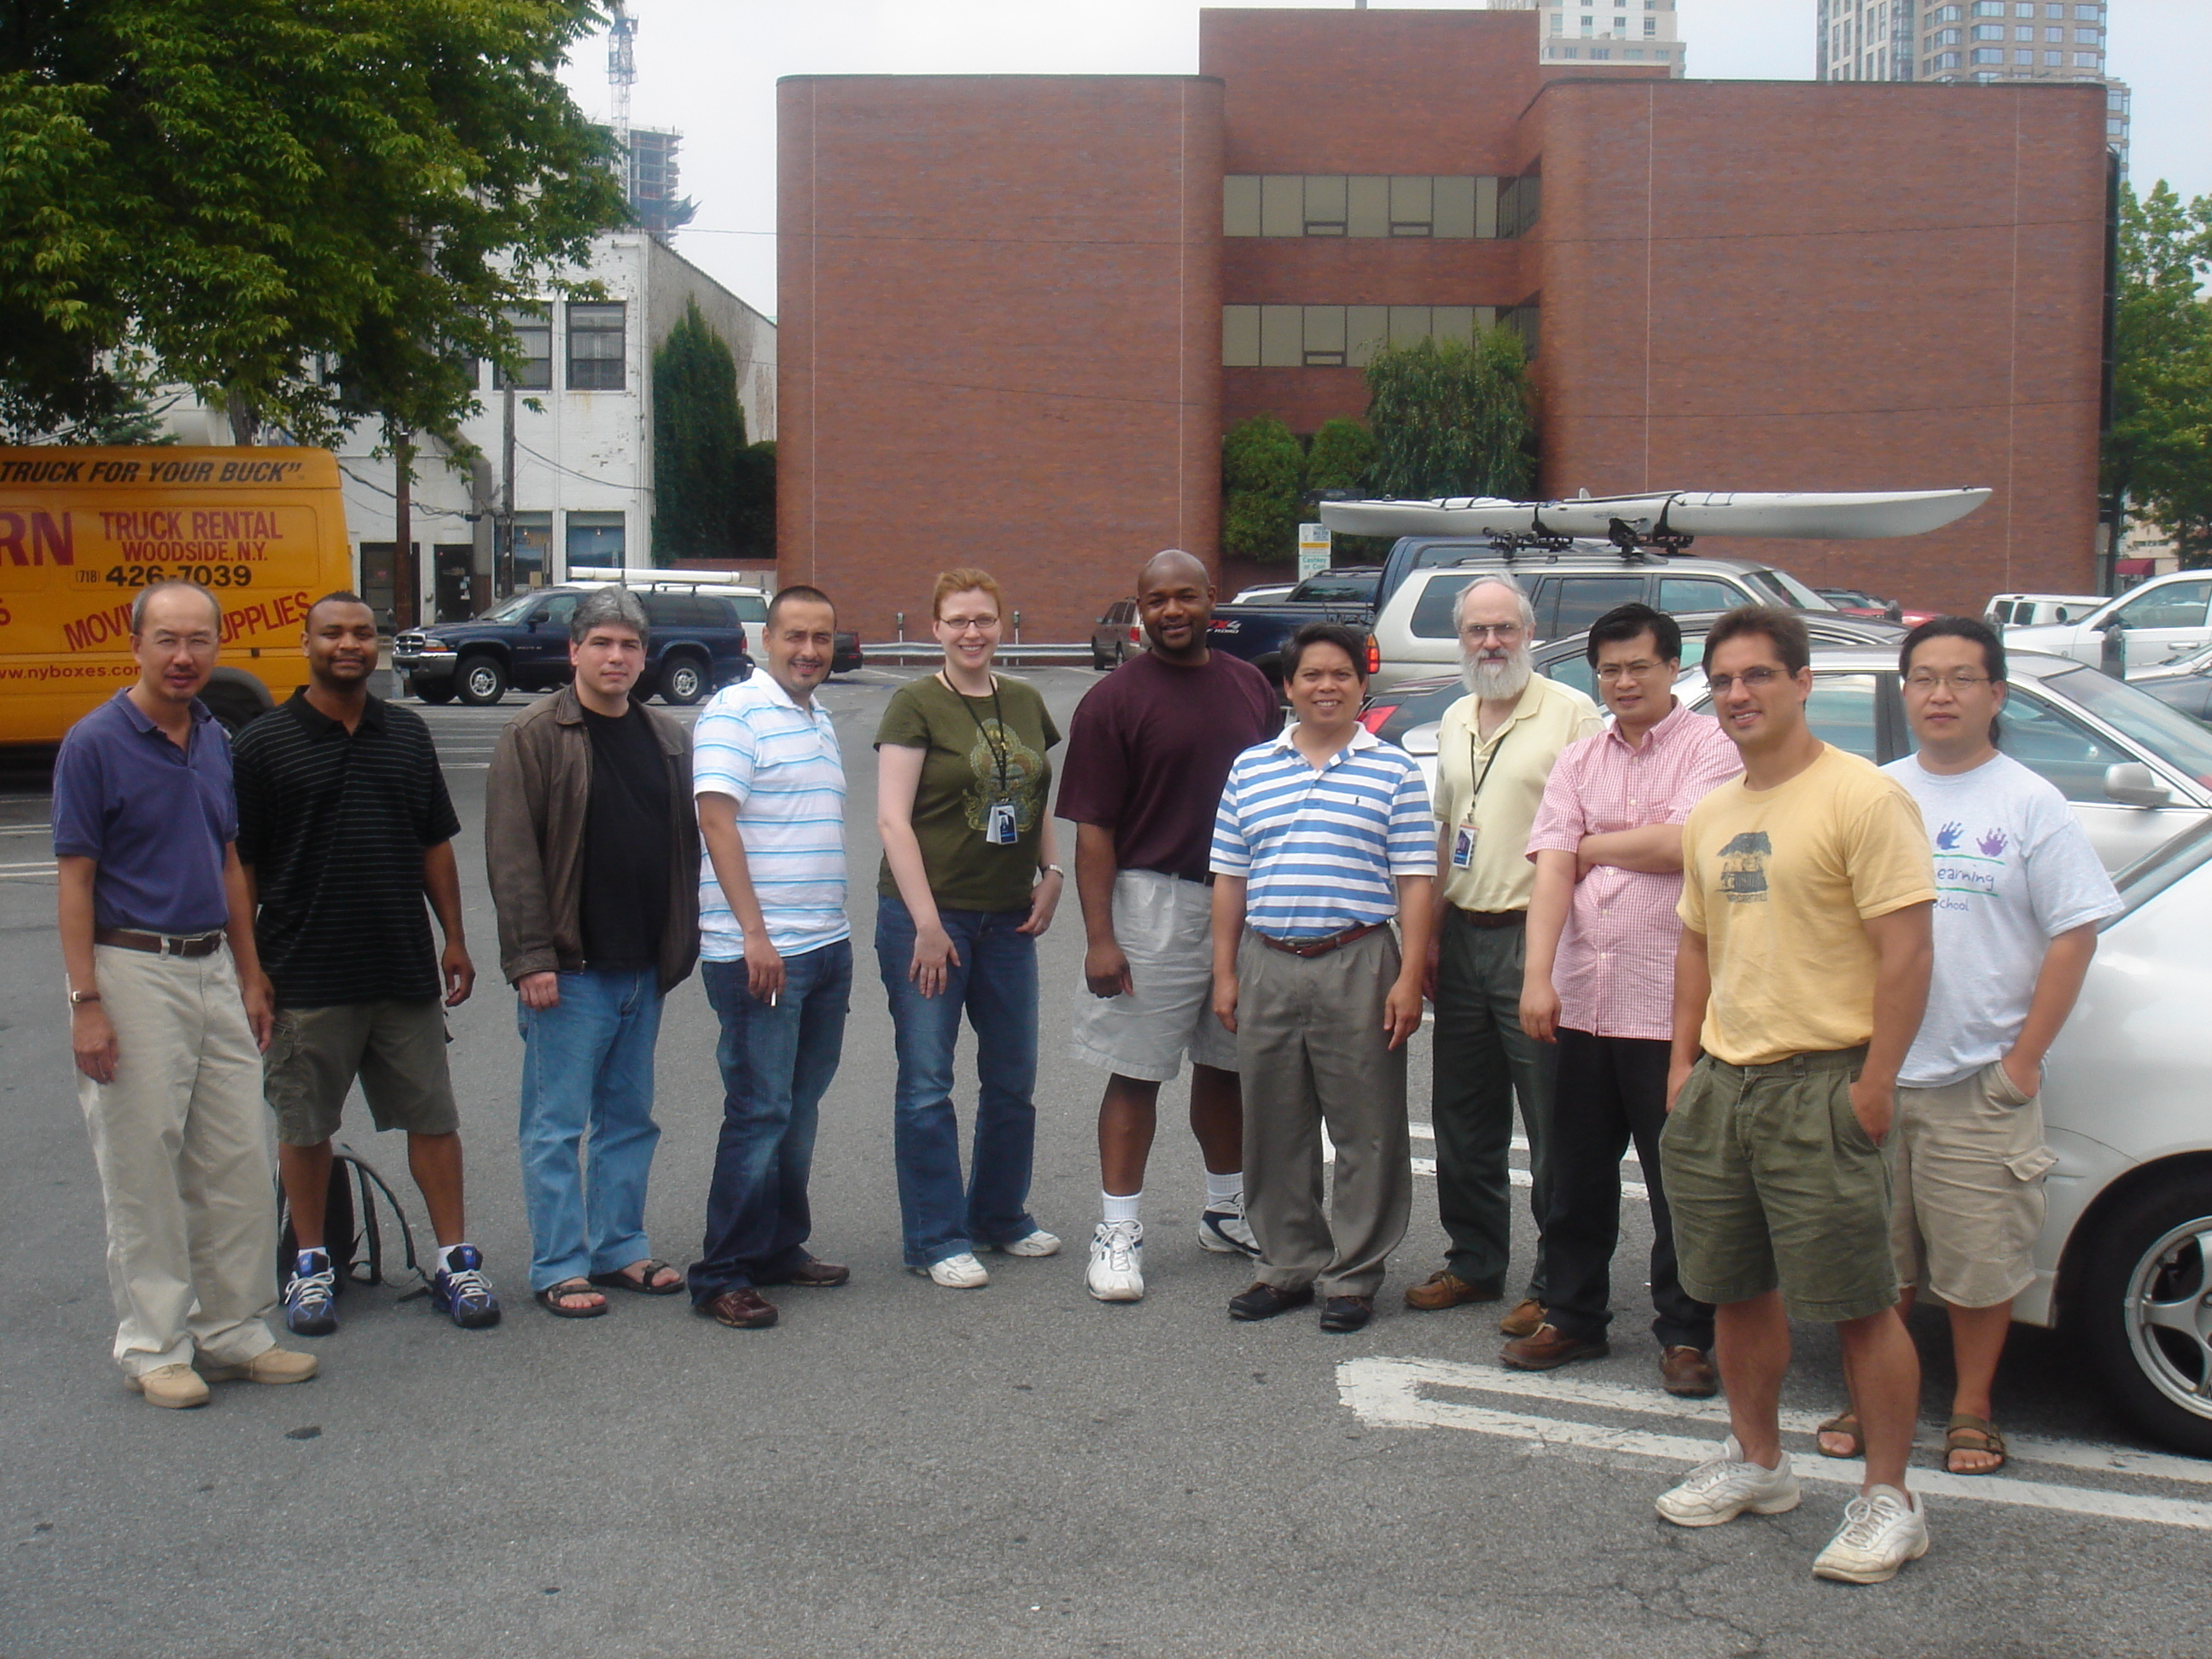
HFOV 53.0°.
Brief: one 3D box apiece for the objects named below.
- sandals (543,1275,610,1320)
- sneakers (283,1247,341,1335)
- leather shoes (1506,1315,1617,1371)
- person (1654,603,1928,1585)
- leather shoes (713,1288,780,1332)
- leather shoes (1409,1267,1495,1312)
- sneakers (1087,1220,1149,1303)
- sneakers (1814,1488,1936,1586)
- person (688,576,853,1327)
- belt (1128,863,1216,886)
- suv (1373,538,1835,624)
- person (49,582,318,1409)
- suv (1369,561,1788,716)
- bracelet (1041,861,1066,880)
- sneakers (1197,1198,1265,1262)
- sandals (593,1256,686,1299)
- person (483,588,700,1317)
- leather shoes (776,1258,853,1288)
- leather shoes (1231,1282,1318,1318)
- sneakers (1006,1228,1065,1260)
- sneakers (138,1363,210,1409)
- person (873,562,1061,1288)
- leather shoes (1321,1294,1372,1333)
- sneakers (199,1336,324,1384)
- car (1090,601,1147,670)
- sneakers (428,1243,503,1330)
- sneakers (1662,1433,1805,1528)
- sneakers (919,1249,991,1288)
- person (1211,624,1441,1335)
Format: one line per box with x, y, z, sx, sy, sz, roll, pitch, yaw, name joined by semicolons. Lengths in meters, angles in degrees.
-1.678;1.482;6.966;0.249;0.095;0.204;-2;8;-6;sandals
-2.459;1.438;6.847;0.119;0.160;0.347;-1;3;-27;sneakers
1.357;1.543;6.622;0.334;0.152;0.124;3;-3;-25;leather shoes
1.662;0.618;5.326;0.654;2.236;0.458;5;9;35;person
-1.123;1.495;6.877;0.227;0.094;0.159;-2;8;-10;leather shoes
1.117;1.483;7.114;0.310;0.132;0.115;2;-1;-11;leather shoes
0.045;1.406;7.163;0.190;0.222;0.223;-1;8;1;sneakers
1.814;1.669;5.213;0.133;0.175;0.370;-3;-2;38;sneakers
-1.100;0.532;7.106;0.472;1.960;0.835;1;8;14;person
0.222;0.157;7.356;0.266;0.070;0.058;-1;8;-5;belt
3.585;-2.015;16.348;2.413;0.986;1.376;1;9;4;suv
-2.636;0.460;6.286;0.563;2.275;0.585;-6;9;-34;person
3.300;-1.624;15.742;2.828;1.207;1.589;-4;4;11;suv
-0.177;0.146;7.529;0.062;0.039;0.075;-2;-2;1;bracelet
0.456;1.397;7.569;0.311;0.217;0.107;0;0;18;sneakers
-1.505;1.470;7.225;0.282;0.077;0.124;-1;5;27;sandals
-1.619;0.380;7.107;0.488;2.254;0.688;5;10;38;person
-0.956;1.456;7.256;0.201;0.082;0.095;0;-1;2;leather shoes
0.540;1.506;7.070;0.274;0.118;0.096;3;-3;-29;leather shoes
-0.227;1.426;7.589;0.170;0.078;0.085;-7;-2;31;sneakers
-2.621;1.560;6.194;0.231;0.099;0.138;-1;8;-3;sneakers
-0.426;0.317;7.373;0.626;2.331;0.556;-4;8;-24;person
0.763;1.505;6.953;0.179;0.098;0.265;0;8;5;leather shoes
-2.434;1.531;6.417;0.325;0.141;0.120;1;5;-2;sneakers
0.262;-4.026;45.971;1.252;1.572;3.418;0;15;-2;car
-1.990;1.442;6.959;0.126;0.173;0.376;-1;-3;-32;sneakers
1.565;1.647;5.607;0.416;0.207;0.151;-3;1;-11;sneakers
-0.475;1.458;7.262;0.240;0.094;0.219;-2;8;-11;sneakers
0.691;0.455;7.021;0.724;2.167;0.555;0;8;8;person
